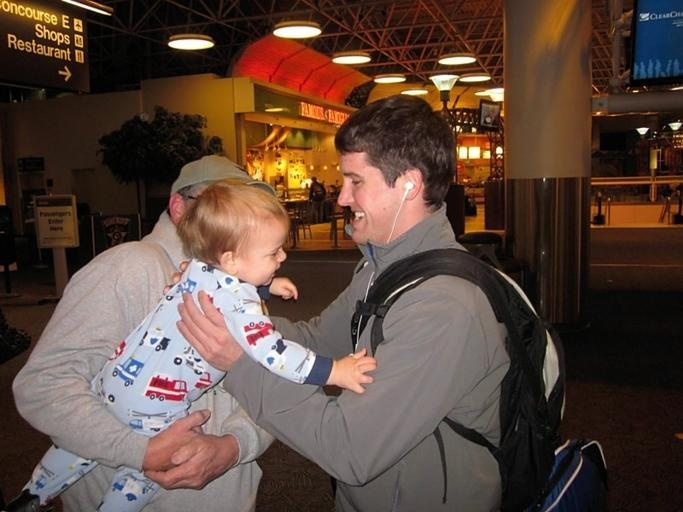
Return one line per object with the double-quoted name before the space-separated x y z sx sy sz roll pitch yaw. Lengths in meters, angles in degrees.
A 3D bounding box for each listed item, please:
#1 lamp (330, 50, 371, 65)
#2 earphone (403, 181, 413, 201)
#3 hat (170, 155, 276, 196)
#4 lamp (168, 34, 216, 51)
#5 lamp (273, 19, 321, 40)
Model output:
"lamp" 0.195 -4.713 13.301 0.814 0.220 0.996 -2 9 -2
"earphone" 0.238 -0.235 2.048 0.031 0.058 0.013 14 -1 20
"hat" -0.521 -0.339 2.242 0.288 0.130 0.197 -2 15 2
"lamp" -3.060 -4.324 11.193 0.791 0.311 0.853 -5 10 -23
"lamp" -0.817 -4.327 10.661 0.868 0.216 0.831 -10 12 -41
